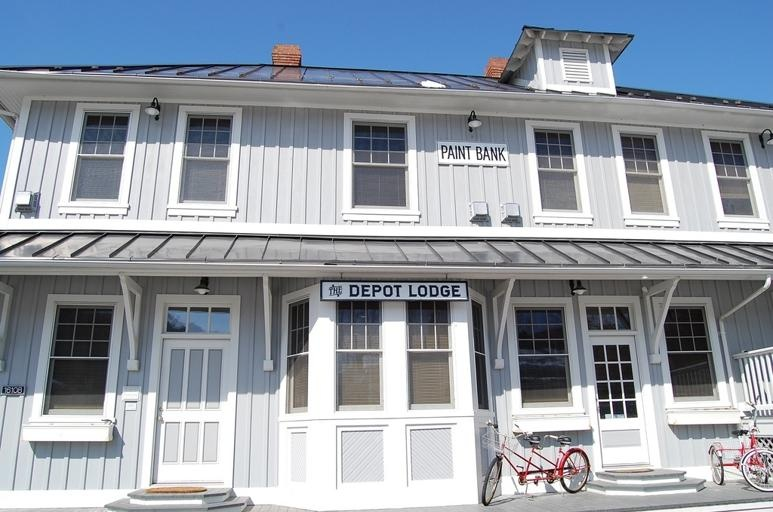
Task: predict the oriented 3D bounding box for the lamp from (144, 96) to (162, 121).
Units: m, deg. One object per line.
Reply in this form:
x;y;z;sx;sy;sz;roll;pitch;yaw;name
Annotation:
-5.008;-3.216;12.311;0.319;0.511;0.287;4;-18;-18;lamp

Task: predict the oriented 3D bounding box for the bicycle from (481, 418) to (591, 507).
2.934;3.948;11.147;2.572;1.431;1.024;4;-17;-19;bicycle

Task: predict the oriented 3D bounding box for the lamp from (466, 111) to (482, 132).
1.998;-3.107;13.018;0.341;0.530;0.260;-4;-17;8;lamp

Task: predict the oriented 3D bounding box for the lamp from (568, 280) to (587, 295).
4.110;0.655;12.209;0.361;0.322;0.402;-4;-16;10;lamp

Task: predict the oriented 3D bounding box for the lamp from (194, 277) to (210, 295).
-3.605;0.572;11.248;0.239;0.351;0.594;3;-16;-13;lamp

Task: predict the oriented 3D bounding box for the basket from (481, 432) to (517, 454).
2.273;3.633;11.199;0.452;0.356;0.777;-1;-4;41;basket
